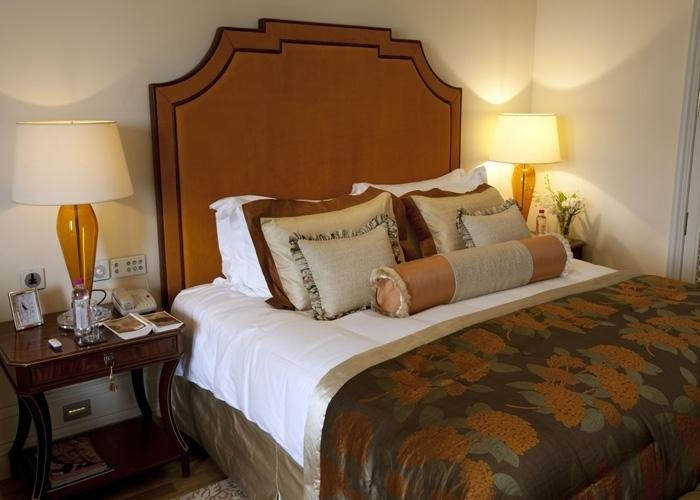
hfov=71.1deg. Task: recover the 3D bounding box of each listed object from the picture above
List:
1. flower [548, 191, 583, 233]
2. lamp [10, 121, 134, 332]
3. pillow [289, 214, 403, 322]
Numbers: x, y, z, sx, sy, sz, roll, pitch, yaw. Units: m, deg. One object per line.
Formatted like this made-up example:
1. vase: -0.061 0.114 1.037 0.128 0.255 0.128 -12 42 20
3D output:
1. flower: 1.827 -0.327 4.146 0.279 0.382 0.327 3 7 26
2. lamp: -1.358 -0.174 2.476 0.525 0.997 0.289 -16 13 -30
3. pillow: -0.038 0.136 2.590 0.613 0.468 0.172 -13 -3 -33
